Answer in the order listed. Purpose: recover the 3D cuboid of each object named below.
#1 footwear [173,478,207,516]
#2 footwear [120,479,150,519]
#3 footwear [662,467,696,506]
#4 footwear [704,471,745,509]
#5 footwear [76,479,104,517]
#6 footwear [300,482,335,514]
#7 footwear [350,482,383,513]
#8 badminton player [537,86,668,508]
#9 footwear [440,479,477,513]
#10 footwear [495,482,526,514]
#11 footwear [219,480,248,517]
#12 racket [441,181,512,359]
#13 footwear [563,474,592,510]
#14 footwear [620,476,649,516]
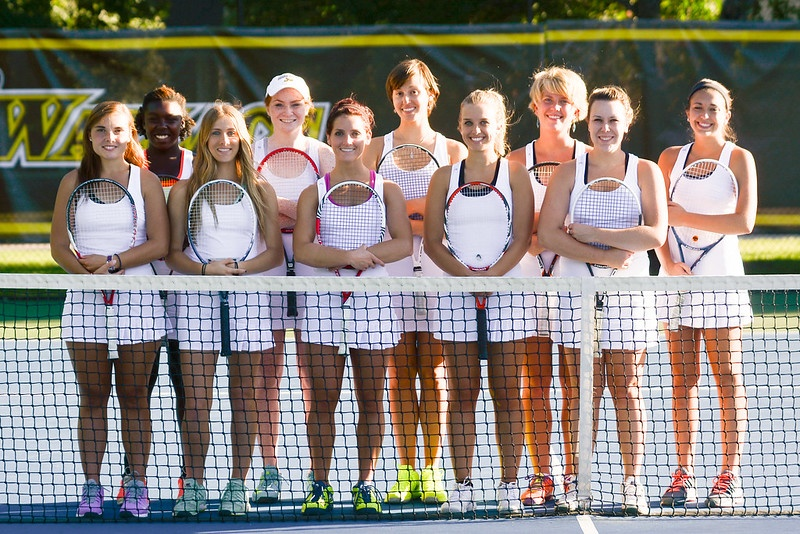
[{"bbox_3d":[-1.650,1.819,9.868,0.238,0.256,0.226,1,20,8],"label":"footwear"},{"bbox_3d":[-2.090,1.826,9.865,0.226,0.249,0.220,-4,20,-6],"label":"footwear"},{"bbox_3d":[2.259,1.764,10.042,0.158,0.286,0.474,-1,0,32],"label":"footwear"},{"bbox_3d":[2.601,1.770,9.948,0.325,0.238,0.269,-2,20,1],"label":"footwear"},{"bbox_3d":[-2.473,1.855,9.950,0.140,0.199,0.452,-2,11,-10],"label":"footwear"},{"bbox_3d":[-0.636,1.843,9.875,0.303,0.228,0.158,-3,-8,14],"label":"footwear"},{"bbox_3d":[-0.250,1.834,9.895,0.227,0.204,0.199,-4,20,-5],"label":"footwear"},{"bbox_3d":[1.648,0.257,9.983,1.037,3.104,1.313,-1,19,2],"label":"badminton player"},{"bbox_3d":[0.476,1.856,9.928,0.165,0.223,0.352,-13,-13,39],"label":"footwear"},{"bbox_3d":[0.877,1.846,9.890,0.125,0.142,0.304,3,-6,-8],"label":"footwear"},{"bbox_3d":[-1.297,1.844,9.961,0.172,0.224,0.502,-5,6,11],"label":"footwear"},{"bbox_3d":[0.586,0.024,9.942,0.524,1.283,0.653,4,20,17],"label":"racket"},{"bbox_3d":[1.381,1.814,9.988,0.126,0.266,0.356,-12,-2,-29],"label":"footwear"},{"bbox_3d":[1.873,1.805,9.846,0.203,0.257,0.174,1,20,8],"label":"footwear"}]
